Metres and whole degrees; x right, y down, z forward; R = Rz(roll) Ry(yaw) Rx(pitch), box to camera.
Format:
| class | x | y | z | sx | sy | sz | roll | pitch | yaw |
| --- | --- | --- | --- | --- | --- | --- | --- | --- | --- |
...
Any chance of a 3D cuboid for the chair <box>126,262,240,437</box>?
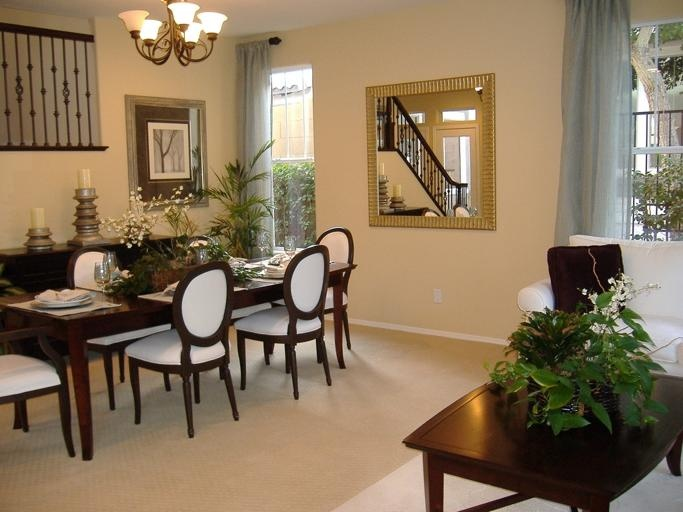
| class | x | y | z | sx | sy | sz | roll | pitch | yaw |
| --- | --- | --- | --- | --- | --- | --- | --- | --- | --- |
| chair | -1.080 | 0.587 | 3.685 | 0.597 | 1.174 | 0.621 | 7 | 10 | 29 |

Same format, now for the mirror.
| class | x | y | z | sx | sy | sz | roll | pitch | yaw |
| --- | --- | --- | --- | --- | --- | --- | --- | --- | --- |
| mirror | 0.951 | -1.097 | 5.290 | 1.551 | 1.750 | 0.070 | 2 | 5 | 32 |

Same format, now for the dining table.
| class | x | y | z | sx | sy | sz | roll | pitch | yaw |
| --- | --- | --- | --- | --- | --- | --- | --- | --- | --- |
| dining table | -1.017 | 0.644 | 4.081 | 2.680 | 0.910 | 0.917 | -8 | 12 | -34 |

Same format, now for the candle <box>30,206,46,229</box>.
| class | x | y | z | sx | sy | sz | roll | pitch | yaw |
| --- | --- | --- | --- | --- | --- | --- | --- | --- | --- |
| candle | -2.786 | -0.368 | 4.879 | 0.161 | 0.259 | 0.170 | 1 | 4 | -19 |

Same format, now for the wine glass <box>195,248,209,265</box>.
| class | x | y | z | sx | sy | sz | roll | pitch | yaw |
| --- | --- | --- | --- | --- | --- | --- | --- | --- | --- |
| wine glass | -1.037 | 0.001 | 3.896 | 0.104 | 0.112 | 0.091 | 2 | -1 | -16 |

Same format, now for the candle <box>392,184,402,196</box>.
| class | x | y | z | sx | sy | sz | roll | pitch | yaw |
| --- | --- | --- | --- | --- | --- | --- | --- | --- | --- |
| candle | 0.591 | -0.710 | 5.558 | 0.104 | 0.208 | 0.106 | -1 | 5 | -15 |

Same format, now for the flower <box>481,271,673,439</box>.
| class | x | y | z | sx | sy | sz | roll | pitch | yaw |
| --- | --- | --- | --- | --- | --- | --- | --- | --- | --- |
| flower | 1.064 | 0.415 | 2.218 | 0.593 | 0.582 | 0.734 | -9 | 8 | -36 |

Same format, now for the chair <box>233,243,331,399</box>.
| class | x | y | z | sx | sy | sz | roll | pitch | yaw |
| --- | --- | --- | --- | --- | --- | --- | --- | --- | --- |
| chair | -0.458 | 0.464 | 4.225 | 0.607 | 1.192 | 0.601 | 8 | 11 | 31 |

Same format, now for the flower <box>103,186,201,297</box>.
| class | x | y | z | sx | sy | sz | roll | pitch | yaw |
| --- | --- | --- | --- | --- | --- | --- | --- | --- | --- |
| flower | -1.454 | -0.005 | 3.846 | 0.576 | 0.668 | 0.529 | 3 | -6 | -42 |

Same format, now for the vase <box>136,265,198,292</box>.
| class | x | y | z | sx | sy | sz | roll | pitch | yaw |
| --- | --- | --- | --- | --- | --- | --- | --- | --- | --- |
| vase | -1.258 | 0.133 | 3.610 | 0.219 | 0.118 | 0.307 | -2 | -3 | -1 |

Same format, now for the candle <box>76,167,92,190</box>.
| class | x | y | z | sx | sy | sz | roll | pitch | yaw |
| --- | --- | --- | --- | --- | --- | --- | --- | --- | --- |
| candle | -2.515 | -0.753 | 5.097 | 0.114 | 0.188 | 0.134 | -7 | 12 | -31 |

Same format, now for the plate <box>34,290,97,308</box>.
| class | x | y | z | sx | sy | sz | roll | pitch | yaw |
| --- | --- | --- | --- | --- | --- | --- | --- | --- | --- |
| plate | -1.794 | 0.281 | 3.385 | 0.189 | 0.051 | 0.200 | 7 | 12 | 43 |

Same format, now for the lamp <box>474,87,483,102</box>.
| class | x | y | z | sx | sy | sz | roll | pitch | yaw |
| --- | --- | --- | --- | --- | --- | --- | --- | --- | --- |
| lamp | 1.318 | -1.560 | 5.023 | 0.041 | 0.121 | 0.082 | -1 | 2 | -16 |

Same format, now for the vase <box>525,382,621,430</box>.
| class | x | y | z | sx | sy | sz | roll | pitch | yaw |
| --- | --- | --- | --- | --- | --- | --- | --- | --- | --- |
| vase | 0.992 | 0.601 | 2.236 | 0.275 | 0.117 | 0.237 | 0 | -3 | 29 |

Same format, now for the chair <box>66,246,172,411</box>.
| class | x | y | z | sx | sy | sz | roll | pitch | yaw |
| --- | --- | --- | --- | --- | --- | --- | --- | --- | --- |
| chair | -1.891 | 0.509 | 4.284 | 0.734 | 1.428 | 0.842 | 6 | 10 | 35 |
